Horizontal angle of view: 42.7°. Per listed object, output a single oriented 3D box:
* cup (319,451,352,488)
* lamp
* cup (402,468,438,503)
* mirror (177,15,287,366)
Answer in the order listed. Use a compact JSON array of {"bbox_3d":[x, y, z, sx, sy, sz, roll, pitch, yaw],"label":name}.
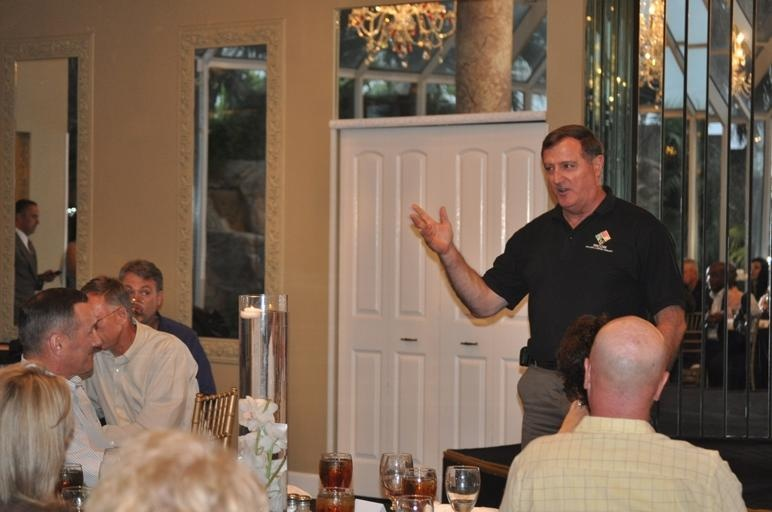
[{"bbox_3d":[-0.242,1.034,4.786,0.158,0.185,0.159,0,-11,0],"label":"cup"},{"bbox_3d":[0.139,-1.794,7.736,0.517,0.354,0.510,1,-5,-27],"label":"lamp"},{"bbox_3d":[0.157,1.084,4.686,0.147,0.168,0.147,1,-9,0],"label":"cup"},{"bbox_3d":[-1.259,-0.696,8.018,0.976,2.402,0.102,-1,-3,17],"label":"mirror"}]
